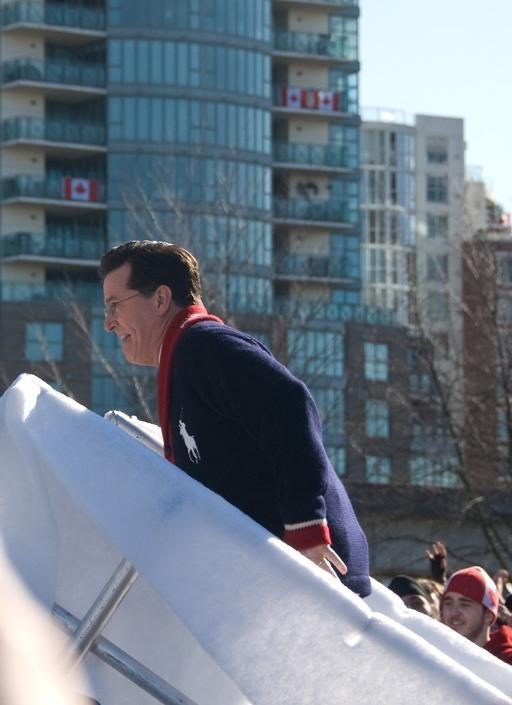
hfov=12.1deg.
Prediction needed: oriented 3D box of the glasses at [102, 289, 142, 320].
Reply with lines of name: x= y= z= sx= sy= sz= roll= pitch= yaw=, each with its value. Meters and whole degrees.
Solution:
glasses: x=-1.208 y=-0.432 z=21.373 sx=0.227 sy=0.082 sz=0.234 roll=-23 pitch=-9 yaw=-26

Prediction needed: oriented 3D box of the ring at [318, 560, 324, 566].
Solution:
ring: x=0.544 y=1.820 z=20.721 sx=0.024 sy=0.059 sz=0.045 roll=-3 pitch=-2 yaw=25
